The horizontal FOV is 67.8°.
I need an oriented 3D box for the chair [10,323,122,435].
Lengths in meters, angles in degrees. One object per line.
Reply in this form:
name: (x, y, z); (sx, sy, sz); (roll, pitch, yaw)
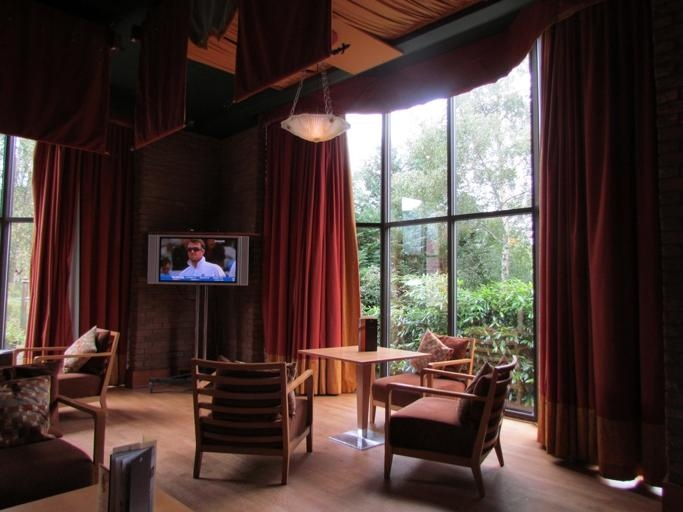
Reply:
chair: (-3.038, 1.355, 5.676); (0.767, 0.850, 0.936); (1, -1, 27)

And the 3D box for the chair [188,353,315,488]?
chair: (-0.801, 1.385, 4.539); (0.850, 1.078, 1.123); (-1, -6, 9)

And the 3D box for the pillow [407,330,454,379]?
pillow: (1.073, 0.990, 5.770); (0.482, 0.141, 0.471); (-25, -42, 5)

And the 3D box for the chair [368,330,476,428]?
chair: (0.896, 1.347, 5.562); (0.937, 0.938, 1.167); (-3, -4, 37)

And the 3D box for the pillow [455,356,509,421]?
pillow: (1.162, 1.082, 4.095); (0.401, 0.506, 0.267); (-2, 3, -41)

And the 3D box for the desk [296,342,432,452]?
desk: (0.238, 1.283, 5.093); (1.005, 0.963, 1.009); (2, 2, 44)

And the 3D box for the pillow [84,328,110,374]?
pillow: (-2.758, 1.104, 5.781); (0.118, 0.386, 0.394); (19, -25, -38)

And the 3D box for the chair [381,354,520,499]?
chair: (0.981, 1.326, 4.391); (0.994, 0.990, 0.809); (0, -1, 28)
